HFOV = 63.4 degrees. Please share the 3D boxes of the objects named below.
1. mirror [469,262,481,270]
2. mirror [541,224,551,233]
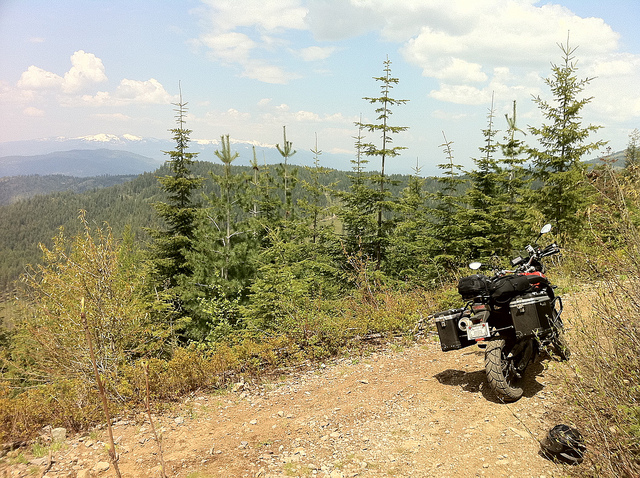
[{"bbox_3d":[3.674,0.611,12.290,0.232,0.159,0.227,0,4,27],"label":"mirror"},{"bbox_3d":[5.323,-0.250,12.206,0.202,0.201,0.330,0,3,23],"label":"mirror"}]
